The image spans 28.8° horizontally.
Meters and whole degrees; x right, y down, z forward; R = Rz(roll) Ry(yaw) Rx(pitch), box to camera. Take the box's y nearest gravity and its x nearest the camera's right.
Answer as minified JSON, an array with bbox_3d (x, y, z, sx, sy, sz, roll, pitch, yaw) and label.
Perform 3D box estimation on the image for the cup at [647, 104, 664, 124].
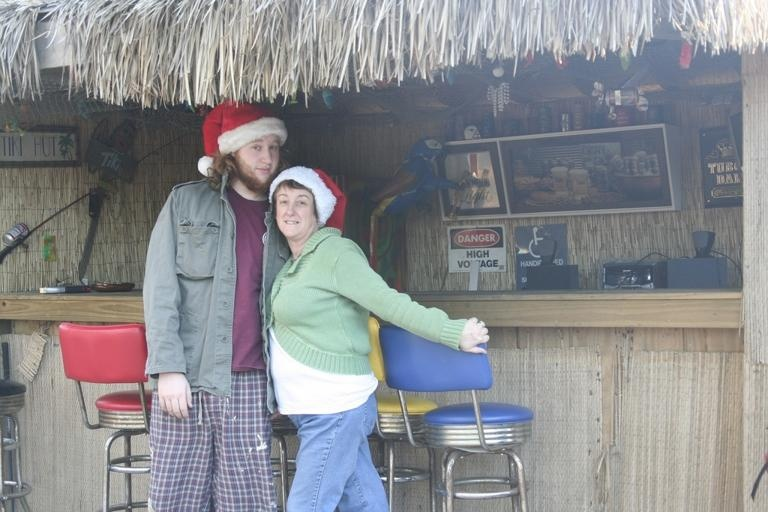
[{"bbox_3d":[2.027,-1.065,11.211,0.128,0.142,0.076,-2,2,6],"label":"cup"}]

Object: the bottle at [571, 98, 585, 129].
[{"bbox_3d":[1.475,-1.080,11.390,0.096,0.218,0.056,0,2,7],"label":"bottle"}]

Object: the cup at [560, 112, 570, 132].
[{"bbox_3d":[1.380,-1.030,11.406,0.048,0.140,0.107,-2,3,-35],"label":"cup"}]

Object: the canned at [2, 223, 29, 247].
[{"bbox_3d":[-2.820,-0.179,11.564,0.198,0.172,0.101,-1,2,-18],"label":"canned"}]

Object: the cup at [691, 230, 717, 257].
[{"bbox_3d":[2.311,-0.093,10.798,0.157,0.200,0.177,0,-5,2],"label":"cup"}]

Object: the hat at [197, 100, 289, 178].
[{"bbox_3d":[-0.896,-0.735,9.621,0.549,0.547,0.485,-5,-10,16],"label":"hat"}]

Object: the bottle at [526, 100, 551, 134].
[{"bbox_3d":[1.199,-1.074,11.513,0.187,0.229,0.027,1,2,27],"label":"bottle"}]
